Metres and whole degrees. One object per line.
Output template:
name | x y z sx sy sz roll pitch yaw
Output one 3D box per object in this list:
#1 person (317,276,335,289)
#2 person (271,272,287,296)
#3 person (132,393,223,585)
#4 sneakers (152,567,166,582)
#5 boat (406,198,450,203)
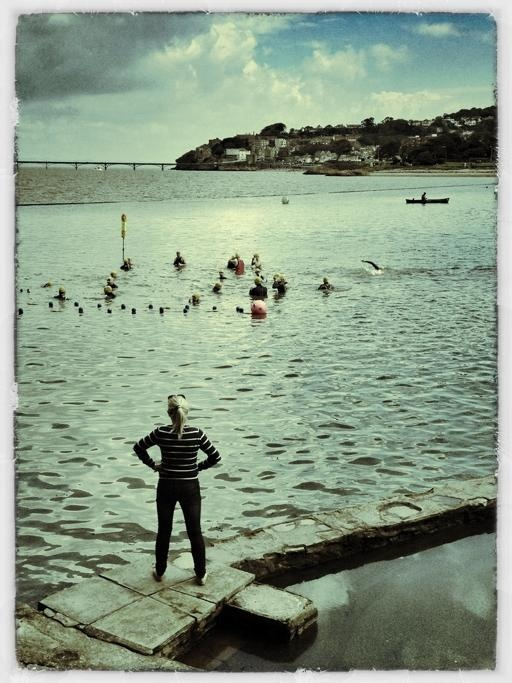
person | 3.012 -2.530 32.957 0.675 0.525 1.303 2 14 4
person | 0.984 -2.474 32.407 0.613 0.437 1.136 0 30 -1
person | -0.926 1.752 9.040 0.810 2.291 0.631 12 19 35
sneakers | -1.185 2.801 9.238 0.111 0.175 0.192 5 26 10
boat | 18.797 -15.322 83.558 4.159 0.688 7.330 3 14 10
